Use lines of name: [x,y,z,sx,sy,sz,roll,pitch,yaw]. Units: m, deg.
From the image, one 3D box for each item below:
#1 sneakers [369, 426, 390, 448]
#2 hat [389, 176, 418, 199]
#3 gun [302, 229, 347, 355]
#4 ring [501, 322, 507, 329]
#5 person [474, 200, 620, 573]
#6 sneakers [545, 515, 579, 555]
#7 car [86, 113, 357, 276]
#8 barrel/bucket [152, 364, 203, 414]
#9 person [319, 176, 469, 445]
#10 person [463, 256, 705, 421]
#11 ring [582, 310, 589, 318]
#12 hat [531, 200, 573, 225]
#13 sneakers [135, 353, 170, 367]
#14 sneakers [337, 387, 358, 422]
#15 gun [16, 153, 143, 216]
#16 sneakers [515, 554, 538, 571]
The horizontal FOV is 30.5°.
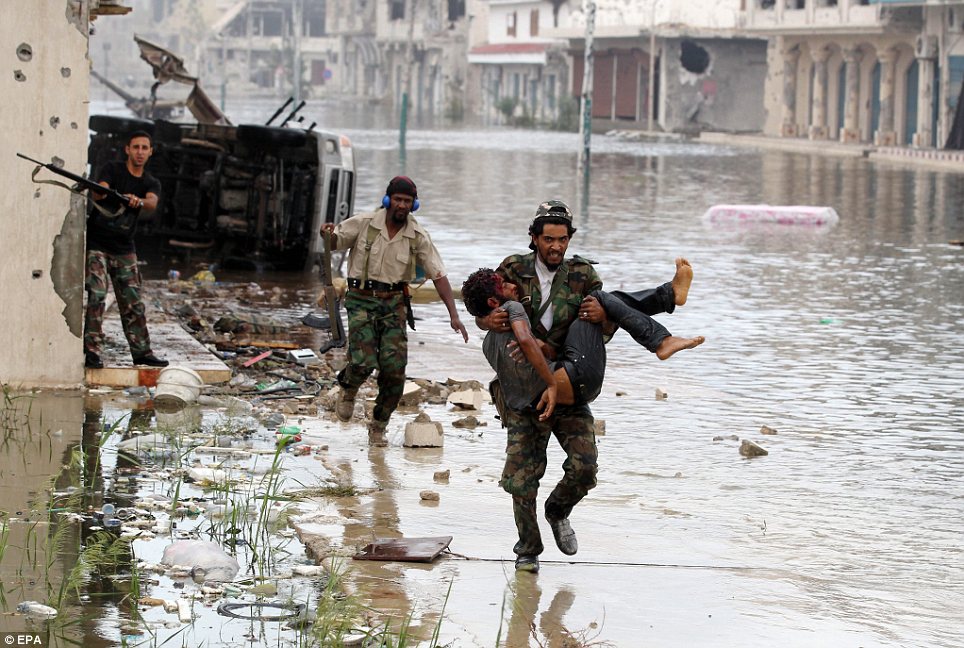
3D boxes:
sneakers: [-0.896,0.976,15.313,0.212,0.176,0.148,0,0,0]
hat: [-0.671,-1.147,15.036,0.197,0.180,0.241,5,13,-3]
gun: [-1.739,-0.314,19.232,0.652,1.553,0.203,-8,-8,23]
ring: [0.153,0.011,12.792,0.053,0.045,0.015,10,3,7]
person: [0.412,0.478,12.984,1.418,2.709,1.083,1,-2,-18]
sneakers: [0.586,1.557,13.052,0.137,0.364,0.150,-23,-16,-25]
car: [-3.630,-1.763,24.391,3.227,1.393,2.194,4,4,16]
barrel/bucket: [-2.735,0.584,15.829,0.428,0.376,0.396,1,3,0]
person: [-0.802,-0.106,15.297,1.142,2.280,0.736,1,4,0]
person: [0.762,-0.138,12.994,1.647,0.945,0.664,-22,15,-11]
ring: [0.743,-0.063,12.841,0.043,0.044,0.016,-3,12,27]
hat: [0.520,-0.799,12.939,0.268,0.177,0.245,1,3,2]
sneakers: [-3.063,0.346,16.363,0.366,0.128,0.114,1,3,-3]
sneakers: [-1.199,0.705,15.577,0.139,0.332,0.228,0,-12,-35]
gun: [-3.604,-1.205,15.708,0.957,0.099,0.299,22,-42,-18]
sneakers: [0.322,1.728,12.806,0.171,0.117,0.099,1,4,1]
